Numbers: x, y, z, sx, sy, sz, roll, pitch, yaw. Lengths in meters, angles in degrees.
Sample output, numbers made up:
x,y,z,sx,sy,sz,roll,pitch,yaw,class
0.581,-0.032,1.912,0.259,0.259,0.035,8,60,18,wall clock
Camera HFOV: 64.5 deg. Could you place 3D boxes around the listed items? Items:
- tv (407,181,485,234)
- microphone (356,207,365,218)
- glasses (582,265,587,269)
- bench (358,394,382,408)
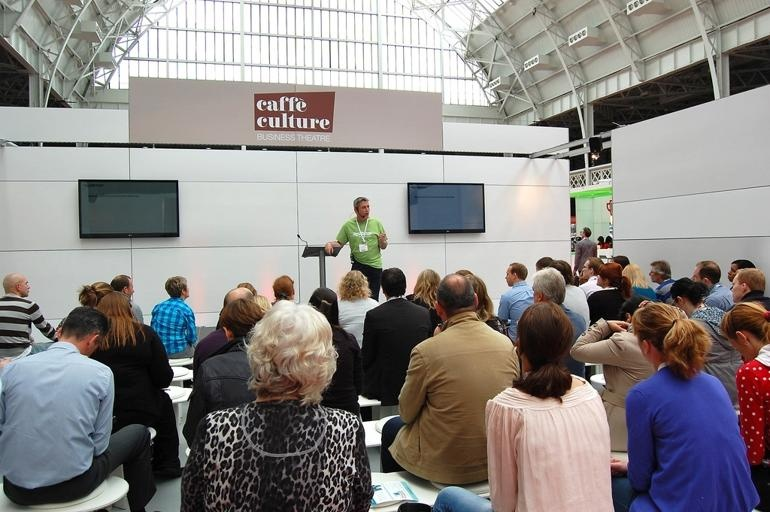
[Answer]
x,y,z,sx,sy,sz,roll,pitch,yaw,class
1.135,-0.880,11.336,1.464,0.966,0.095,1,-1,-11,tv
-0.352,-0.636,8.918,0.101,0.150,0.148,2,28,10,microphone
3.382,0.187,10.362,0.093,0.033,0.098,-10,15,-32,glasses
-0.172,1.494,6.232,0.208,0.056,0.221,1,-1,-18,bench
